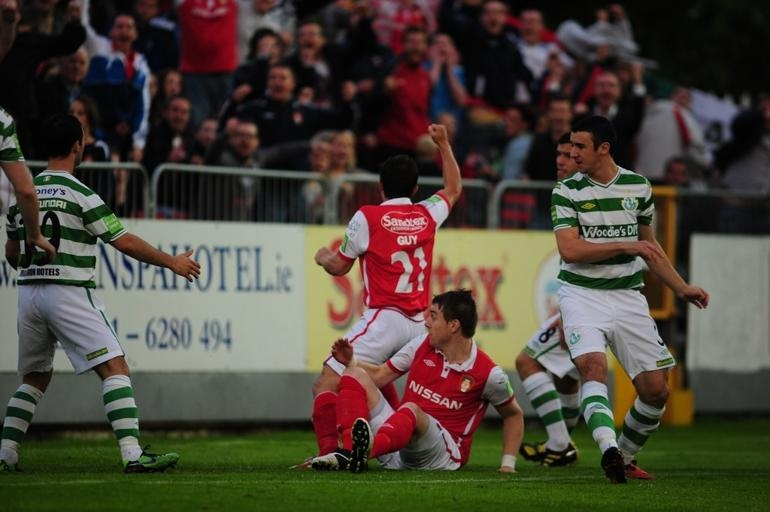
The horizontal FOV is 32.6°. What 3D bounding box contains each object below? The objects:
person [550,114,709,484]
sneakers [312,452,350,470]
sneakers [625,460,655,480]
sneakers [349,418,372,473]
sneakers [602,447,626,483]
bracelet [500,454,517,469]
[{"bbox_3d":[2.405,0.464,13.655,1.231,3.755,0.968,-2,3,2],"label":"person"},{"bbox_3d":[-0.524,2.086,13.380,0.432,0.202,0.170,-4,-37,14],"label":"sneakers"},{"bbox_3d":[2.664,2.265,13.921,0.396,0.193,0.142,8,-2,7],"label":"sneakers"},{"bbox_3d":[-0.233,1.893,13.167,0.175,0.577,0.231,7,9,23],"label":"sneakers"},{"bbox_3d":[2.327,2.087,13.288,0.158,0.467,0.213,-3,43,4],"label":"sneakers"},{"bbox_3d":[1.323,2.151,13.897,0.155,0.182,0.157,2,3,-30],"label":"bracelet"}]
